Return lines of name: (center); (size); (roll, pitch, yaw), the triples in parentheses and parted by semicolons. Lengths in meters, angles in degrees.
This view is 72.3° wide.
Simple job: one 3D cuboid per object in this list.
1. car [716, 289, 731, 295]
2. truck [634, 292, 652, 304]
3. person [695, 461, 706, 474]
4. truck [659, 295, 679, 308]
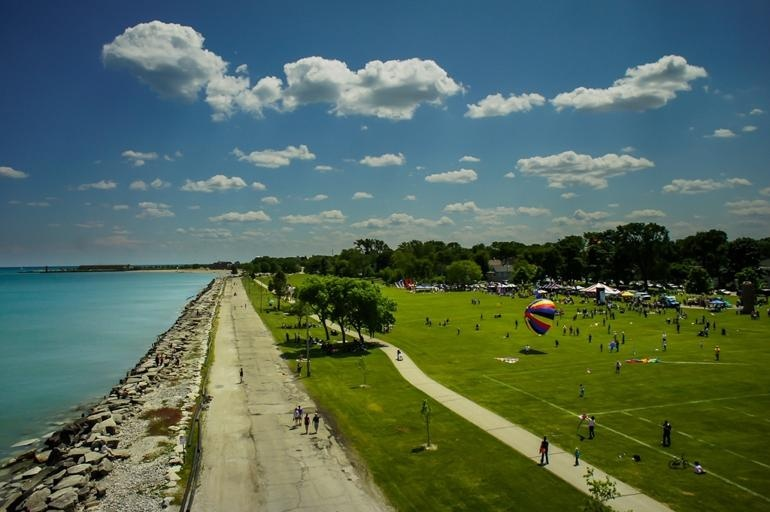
car: (116.044, 11.931, 179.898); (3.136, 1.798, 4.586); (-2, -6, 9)
truck: (74.613, 12.052, 152.789); (3.649, 2.431, 5.021); (-2, -5, -2)
person: (36.322, 24.299, 60.676); (0.821, 0.686, 1.361); (-5, -7, 13)
truck: (76.325, 12.573, 141.682); (3.410, 2.539, 5.003); (-2, -4, -1)
